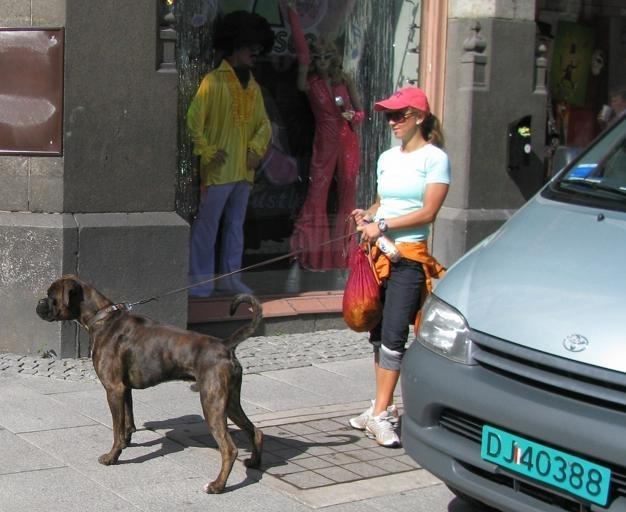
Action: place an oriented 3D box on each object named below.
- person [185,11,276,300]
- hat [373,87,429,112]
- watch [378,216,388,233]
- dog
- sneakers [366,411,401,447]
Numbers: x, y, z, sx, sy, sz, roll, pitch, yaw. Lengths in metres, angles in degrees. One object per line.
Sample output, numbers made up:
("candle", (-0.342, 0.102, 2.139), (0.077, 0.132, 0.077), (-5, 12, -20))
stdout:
("person", (-0.791, -1.041, 9.107), (0.248, 2.520, 0.936), (11, 12, 41))
("hat", (0.619, -1.047, 6.313), (0.289, 0.140, 0.190), (1, 2, -17))
("watch", (0.445, -0.196, 6.164), (0.050, 0.081, 0.073), (-1, 6, 7))
("dog", (-1.017, 0.704, 5.715), (1.440, 1.133, 0.468), (8, 10, 13))
("sneakers", (0.450, 1.102, 6.331), (0.150, 0.146, 0.329), (24, 19, 31))
